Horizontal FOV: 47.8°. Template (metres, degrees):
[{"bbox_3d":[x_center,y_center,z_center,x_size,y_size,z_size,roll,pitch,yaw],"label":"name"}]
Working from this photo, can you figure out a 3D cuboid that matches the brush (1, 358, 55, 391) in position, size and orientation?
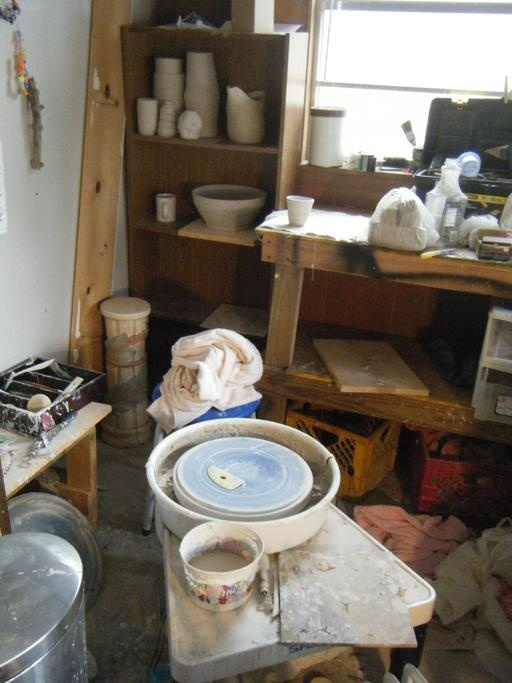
[{"bbox_3d":[-0.925,0.121,2.341,0.121,0.073,0.278,10,18,19],"label":"brush"}]

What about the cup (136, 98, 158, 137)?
[{"bbox_3d":[-0.531,-1.076,2.780,0.114,0.170,0.108,4,18,-1],"label":"cup"}]

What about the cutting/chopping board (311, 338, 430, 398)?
[{"bbox_3d":[0.496,0.111,2.504,0.251,0.033,0.337,-1,27,-9],"label":"cutting/chopping board"}]

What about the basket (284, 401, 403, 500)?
[{"bbox_3d":[0.367,0.433,2.708,0.533,0.379,0.420,20,25,38],"label":"basket"}]

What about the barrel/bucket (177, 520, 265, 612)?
[{"bbox_3d":[-0.073,0.444,1.162,0.149,0.095,0.157,2,23,-1],"label":"barrel/bucket"}]

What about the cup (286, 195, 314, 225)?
[{"bbox_3d":[0.169,-0.516,2.302,0.095,0.116,0.113,6,18,5],"label":"cup"}]

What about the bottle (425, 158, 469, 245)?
[{"bbox_3d":[0.694,-0.509,2.110,0.144,0.300,0.085,9,19,14],"label":"bottle"}]

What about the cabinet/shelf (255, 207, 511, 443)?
[{"bbox_3d":[0.529,-0.082,2.456,1.053,0.850,0.599,11,19,21],"label":"cabinet/shelf"}]

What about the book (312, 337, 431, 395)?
[{"bbox_3d":[0.488,0.108,2.509,0.244,0.032,0.332,-1,27,-10],"label":"book"}]

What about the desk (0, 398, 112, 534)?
[{"bbox_3d":[-0.714,0.445,2.041,0.378,0.344,0.366,23,43,20],"label":"desk"}]

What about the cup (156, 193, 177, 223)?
[{"bbox_3d":[-0.460,-0.702,3.019,0.106,0.141,0.159,2,33,-1],"label":"cup"}]

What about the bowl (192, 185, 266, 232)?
[{"bbox_3d":[-0.145,-0.672,2.901,0.355,0.217,0.397,-9,22,-36],"label":"bowl"}]
